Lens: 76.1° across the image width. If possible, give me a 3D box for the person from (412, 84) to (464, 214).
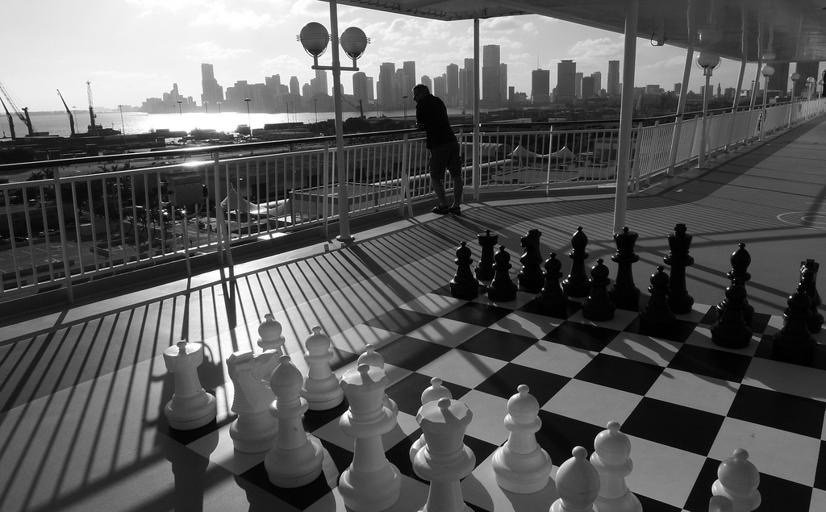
[{"bbox_3d":[0.353,-1.503,7.375,0.576,1.799,0.471,-4,20,7],"label":"person"}]
